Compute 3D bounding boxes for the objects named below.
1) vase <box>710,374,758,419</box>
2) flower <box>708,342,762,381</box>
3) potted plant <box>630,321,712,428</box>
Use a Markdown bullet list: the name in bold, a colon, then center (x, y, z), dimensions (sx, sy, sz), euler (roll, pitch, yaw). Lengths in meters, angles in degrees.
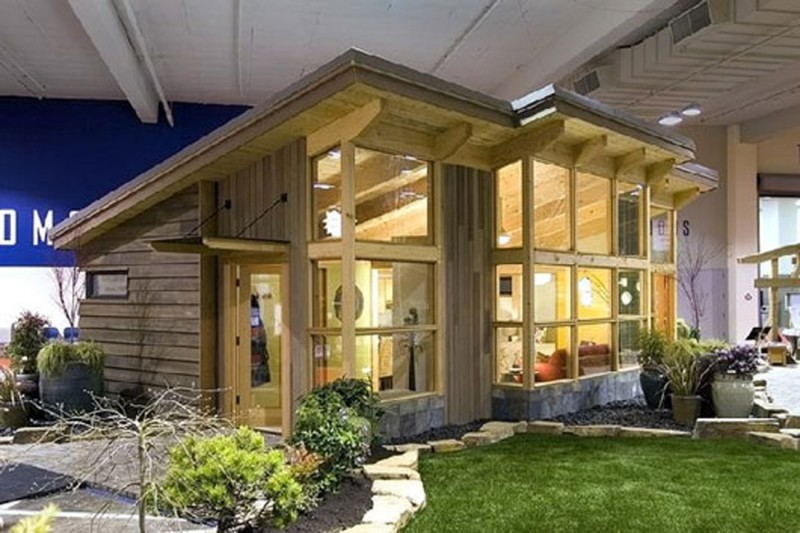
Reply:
- **vase**: center (6.766, 2.599, 13.061), dimensions (0.819, 0.953, 0.819), euler (1, -1, 31)
- **flower**: center (6.725, 1.855, 12.819), dimensions (0.694, 0.625, 0.772), euler (-5, -8, 38)
- **potted plant**: center (5.920, 2.354, 13.681), dimensions (1.481, 1.729, 1.671), euler (5, -7, -35)
